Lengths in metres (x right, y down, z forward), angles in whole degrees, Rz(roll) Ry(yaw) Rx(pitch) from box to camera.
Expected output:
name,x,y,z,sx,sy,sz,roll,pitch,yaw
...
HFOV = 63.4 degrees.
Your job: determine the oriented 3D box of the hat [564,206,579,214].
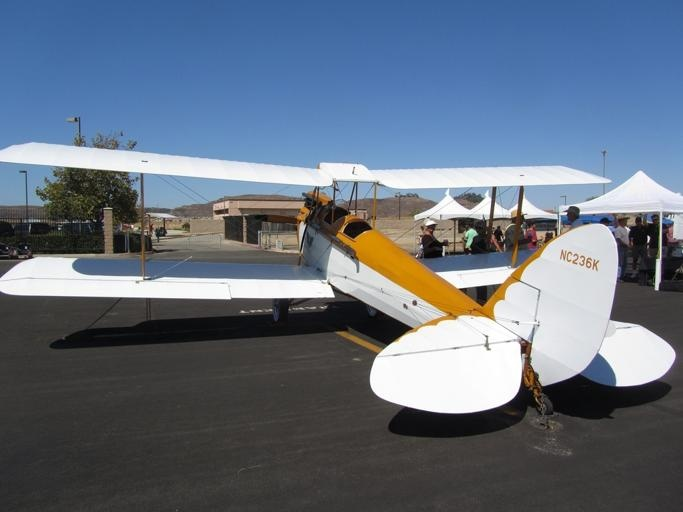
name,x,y,z,sx,sy,sz,roll,pitch,yaw
hat,4.196,-0.802,10.077,0.241,0.090,0.204,6,10,24
